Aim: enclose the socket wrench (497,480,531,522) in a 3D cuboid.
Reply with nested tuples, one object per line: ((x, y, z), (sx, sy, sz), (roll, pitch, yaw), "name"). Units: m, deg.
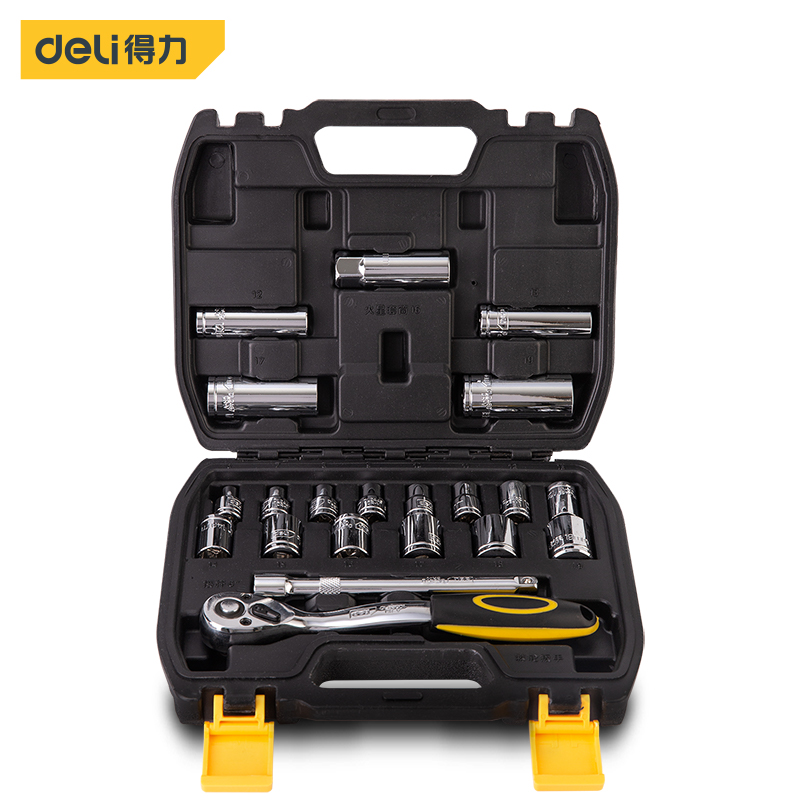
((0.394, 0.334, 3.187), (0.123, 0.116, 0.183), (2, 37, 0), "socket wrench")

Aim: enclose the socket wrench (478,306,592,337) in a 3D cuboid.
((0.477, -0.270, 3.287), (0.477, 0.140, 0.137), (1, 6, 0), "socket wrench")

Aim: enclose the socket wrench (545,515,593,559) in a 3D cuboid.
((0.543, 0.446, 3.010), (0.132, 0.133, 0.143), (2, 42, 1), "socket wrench")

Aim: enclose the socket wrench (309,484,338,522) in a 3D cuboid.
((-0.263, 0.338, 3.169), (0.125, 0.100, 0.179), (1, 39, -4), "socket wrench")

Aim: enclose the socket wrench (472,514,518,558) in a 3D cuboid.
((0.316, 0.431, 3.041), (0.122, 0.136, 0.132), (1, 36, 1), "socket wrench")

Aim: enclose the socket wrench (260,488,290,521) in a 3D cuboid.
((-0.416, 0.352, 3.140), (0.116, 0.090, 0.131), (2, 48, -7), "socket wrench")

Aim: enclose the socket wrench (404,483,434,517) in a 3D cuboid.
((0.065, 0.339, 3.191), (0.096, 0.088, 0.140), (3, 49, -3), "socket wrench")

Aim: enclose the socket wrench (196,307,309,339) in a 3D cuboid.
((-0.512, -0.267, 3.257), (0.476, 0.127, 0.135), (0, 5, -2), "socket wrench")

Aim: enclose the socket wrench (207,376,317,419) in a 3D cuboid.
((-0.484, -0.006, 3.317), (0.430, 0.157, 0.150), (0, 11, -1), "socket wrench")

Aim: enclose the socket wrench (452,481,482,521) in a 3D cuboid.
((0.227, 0.341, 3.172), (0.110, 0.110, 0.158), (3, 46, -5), "socket wrench")

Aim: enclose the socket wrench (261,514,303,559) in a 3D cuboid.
((-0.389, 0.444, 3.029), (0.121, 0.102, 0.183), (-7, 31, -2), "socket wrench")

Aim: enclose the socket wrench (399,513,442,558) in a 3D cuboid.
((0.070, 0.447, 3.049), (0.133, 0.091, 0.164), (-5, 31, 2), "socket wrench")

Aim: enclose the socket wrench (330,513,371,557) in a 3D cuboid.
((-0.165, 0.434, 3.037), (0.124, 0.123, 0.133), (1, 42, -4), "socket wrench")

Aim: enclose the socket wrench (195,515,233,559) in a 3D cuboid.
((-0.583, 0.444, 2.973), (0.118, 0.118, 0.126), (1, 62, -4), "socket wrench")

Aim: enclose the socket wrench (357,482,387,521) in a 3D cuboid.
((-0.100, 0.368, 3.224), (0.123, 0.102, 0.166), (3, 36, -6), "socket wrench")
